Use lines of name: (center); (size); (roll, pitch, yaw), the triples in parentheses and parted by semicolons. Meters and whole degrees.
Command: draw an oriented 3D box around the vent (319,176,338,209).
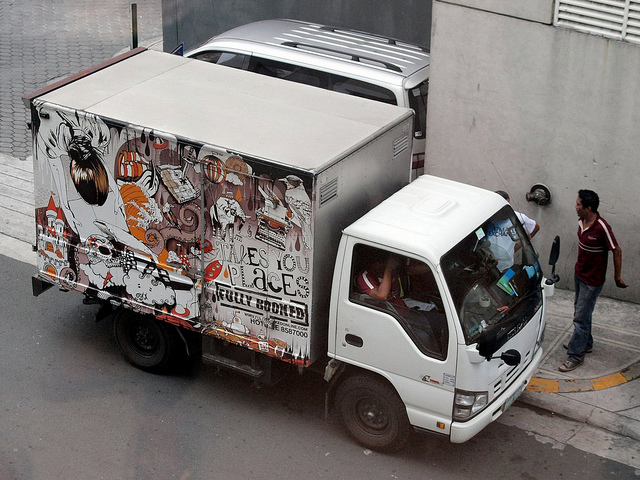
vent: (0.109, -0.486, 7.363); (0.045, 0.317, 0.479); (-6, -3, -24)

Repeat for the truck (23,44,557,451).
truck: (-0.571, 0.020, 8.991); (5.727, 3.602, 2.842); (14, 26, 20)

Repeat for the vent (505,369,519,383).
vent: (2.173, 1.540, 7.756); (0.034, 0.033, 0.293); (40, 66, 23)
